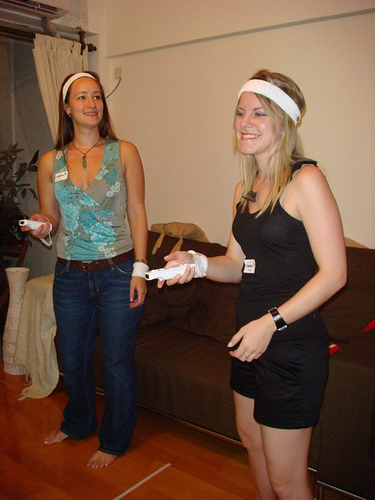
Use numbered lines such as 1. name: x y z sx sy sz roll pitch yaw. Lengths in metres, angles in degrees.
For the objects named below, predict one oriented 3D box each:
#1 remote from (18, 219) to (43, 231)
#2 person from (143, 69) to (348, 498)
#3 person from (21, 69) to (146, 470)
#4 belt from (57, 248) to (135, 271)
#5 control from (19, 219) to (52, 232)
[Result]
1. remote: -0.619 -0.100 1.554 0.044 0.018 0.077 -2 -6 4
2. person: 0.190 0.130 1.076 0.358 1.251 0.481 -5 7 -45
3. person: -0.428 0.093 1.827 0.497 1.809 0.337 0 5 -2
4. belt: -0.391 0.046 1.722 0.315 0.077 0.134 -1 5 -13
5. control: -0.613 -0.096 1.554 0.074 0.040 0.183 1 5 1
